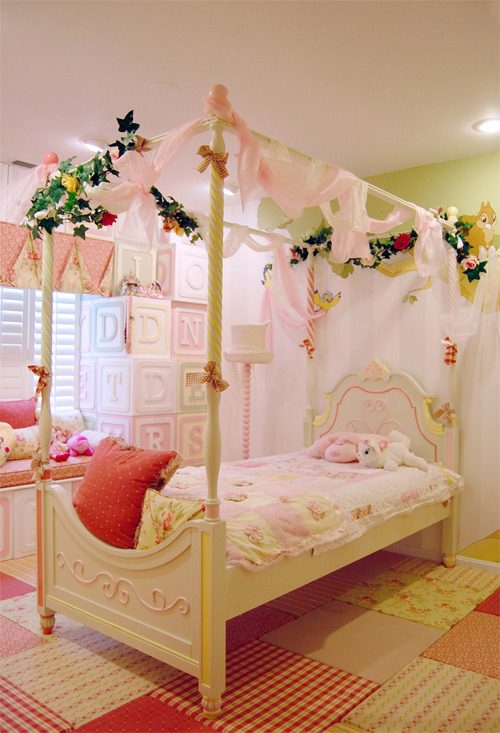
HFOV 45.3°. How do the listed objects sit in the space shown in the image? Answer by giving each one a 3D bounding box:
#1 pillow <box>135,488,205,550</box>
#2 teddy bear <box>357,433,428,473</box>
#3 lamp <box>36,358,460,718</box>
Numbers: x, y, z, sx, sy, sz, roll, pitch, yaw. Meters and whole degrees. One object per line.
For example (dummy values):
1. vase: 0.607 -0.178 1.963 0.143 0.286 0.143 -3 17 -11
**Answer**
1. pillow: -0.327 0.639 2.422 0.271 0.235 0.099 2 -12 19
2. teddy bear: 0.907 0.569 3.956 0.272 0.110 0.265 -4 5 -18
3. lamp: 0.165 0.652 3.421 1.232 1.359 2.289 1 1 44
